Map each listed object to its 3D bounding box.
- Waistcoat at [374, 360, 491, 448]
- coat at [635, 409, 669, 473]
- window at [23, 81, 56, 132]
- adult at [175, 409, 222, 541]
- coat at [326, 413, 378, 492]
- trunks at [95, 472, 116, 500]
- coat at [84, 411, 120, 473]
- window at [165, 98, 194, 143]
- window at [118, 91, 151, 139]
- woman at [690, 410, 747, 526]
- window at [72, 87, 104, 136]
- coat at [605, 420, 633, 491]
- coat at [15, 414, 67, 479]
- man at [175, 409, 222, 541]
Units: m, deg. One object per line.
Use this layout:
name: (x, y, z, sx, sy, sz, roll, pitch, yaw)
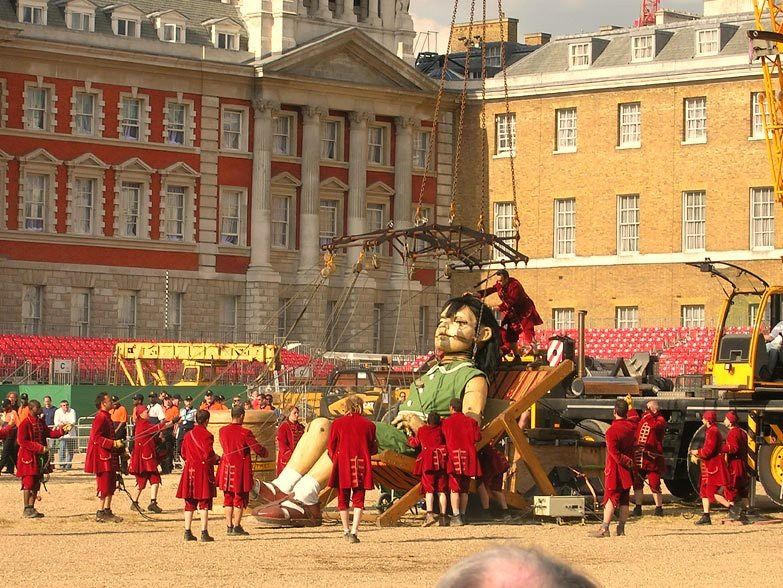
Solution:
Waistcoat: (1.099, 2.641, 55.629, 2.307, 2.161, 2.358, 16, 1, -18)
coat: (6.341, 3.598, 57.245, 0.693, 1.491, 0.618, -2, 9, 7)
window: (-12.650, -6.757, 84.635, 1.155, 1.718, 0.367, -8, 10, -32)
adult: (-4.419, 4.124, 53.999, 0.930, 2.994, 1.078, -3, 9, -3)
coat: (-0.859, 3.586, 53.640, 1.110, 1.687, 0.753, -3, 9, -2)
trunks: (-6.772, 4.544, 56.336, 0.485, 0.684, 0.414, -6, 9, -20)
coat: (-6.934, 3.548, 56.381, 0.794, 1.470, 0.788, -4, 9, -6)
window: (-7.882, -6.410, 87.465, 1.115, 1.666, 0.439, -11, 12, -43)
window: (-9.440, -6.499, 86.497, 1.233, 1.722, 0.430, -10, 11, -40)
woman: (7.841, 4.098, 56.669, 1.085, 2.629, 1.878, -2, 8, 6)
window: (-11.036, -6.625, 85.549, 1.179, 1.703, 0.370, -7, 10, -28)
coat: (5.289, 3.701, 54.200, 0.699, 1.586, 0.671, -2, 9, 5)
coat: (-8.626, 3.683, 57.231, 0.697, 1.513, 1.071, 1, 9, 24)
man: (-4.418, 4.122, 54.013, 0.928, 2.994, 1.108, -3, 9, -3)
